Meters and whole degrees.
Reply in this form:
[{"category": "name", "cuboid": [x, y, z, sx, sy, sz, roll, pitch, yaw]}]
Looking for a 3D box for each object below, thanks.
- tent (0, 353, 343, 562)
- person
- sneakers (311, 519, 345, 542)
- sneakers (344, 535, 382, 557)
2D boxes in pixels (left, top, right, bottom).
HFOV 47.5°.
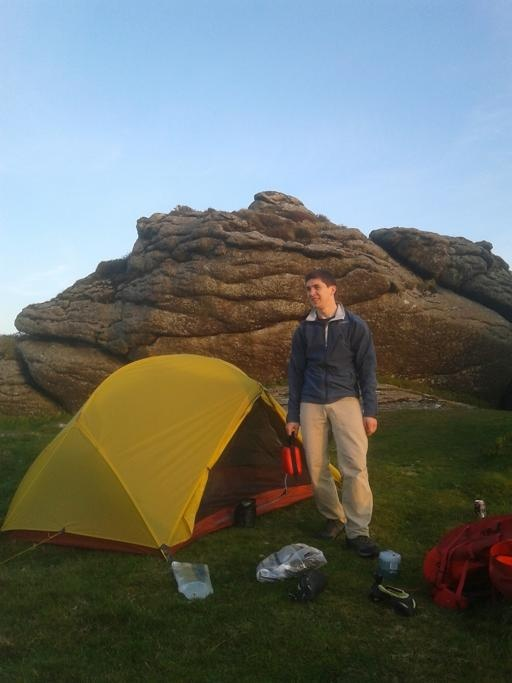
[{"category": "tent", "cuboid": [-1.041, 1.174, 6.046, 2.305, 1.281, 2.803, -3, 1, 31]}, {"category": "person", "cuboid": [0.726, 0.647, 5.574, 0.917, 1.744, 0.533, -2, 2, 29]}, {"category": "sneakers", "cuboid": [0.721, 1.889, 5.780, 0.135, 0.134, 0.343, -1, -1, 44]}, {"category": "sneakers", "cuboid": [0.987, 1.894, 5.310, 0.121, 0.130, 0.316, 7, -13, -29]}]
